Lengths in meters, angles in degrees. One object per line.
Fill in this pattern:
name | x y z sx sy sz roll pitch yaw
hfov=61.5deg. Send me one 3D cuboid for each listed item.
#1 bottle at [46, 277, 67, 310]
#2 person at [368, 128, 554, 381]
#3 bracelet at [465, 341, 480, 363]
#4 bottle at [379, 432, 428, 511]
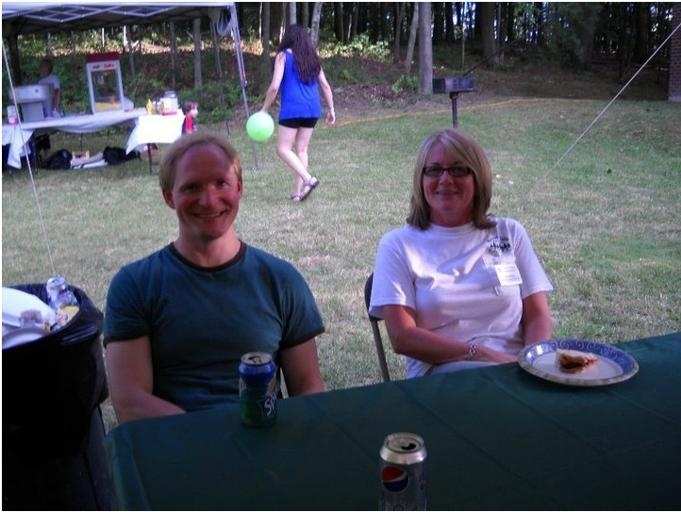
bottle | -1.261 0.168 2.555 0.093 0.133 0.067 -2 -1 -22
person | 0.542 -0.023 3.072 1.061 1.480 1.065 -3 -4 -7
bracelet | 0.572 0.414 2.492 0.022 0.067 0.050 8 -12 30
bottle | 0.158 0.532 1.408 0.097 0.174 0.085 4 18 24
